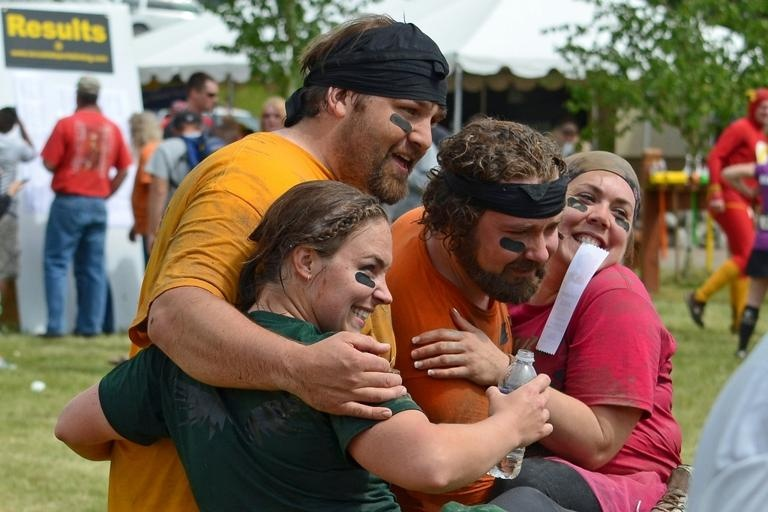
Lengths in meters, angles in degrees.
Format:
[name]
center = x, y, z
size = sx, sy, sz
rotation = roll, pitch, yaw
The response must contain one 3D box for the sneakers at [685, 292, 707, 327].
[sneakers]
center = 3.889, 0.688, 14.912
size = 0.233, 0.540, 0.181
rotation = -8, 15, 20
